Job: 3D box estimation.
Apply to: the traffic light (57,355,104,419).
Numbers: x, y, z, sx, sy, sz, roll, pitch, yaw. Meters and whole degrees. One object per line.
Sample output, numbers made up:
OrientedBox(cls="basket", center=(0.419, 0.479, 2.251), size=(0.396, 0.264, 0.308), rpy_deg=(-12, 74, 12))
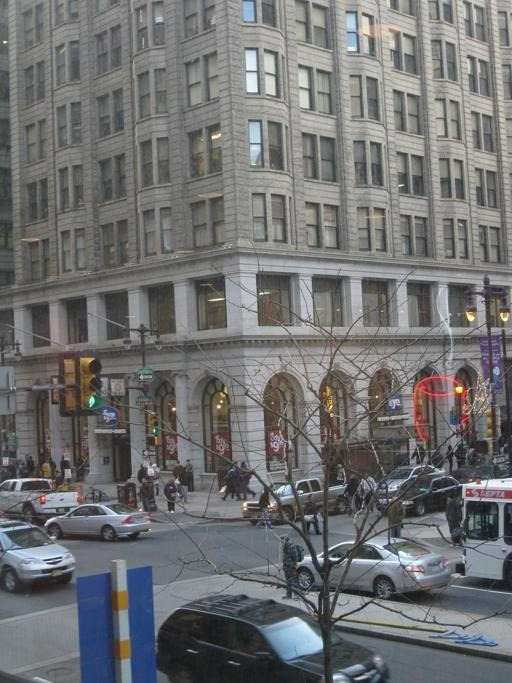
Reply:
OrientedBox(cls="traffic light", center=(-3.161, 0.743, 19.283), size=(0.718, 1.222, 2.008), rpy_deg=(-2, -8, -11))

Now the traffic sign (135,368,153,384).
OrientedBox(cls="traffic sign", center=(-4.314, 1.311, 41.849), size=(0.471, 0.769, 0.863), rpy_deg=(-5, -3, 35))

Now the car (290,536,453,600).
OrientedBox(cls="car", center=(2.532, 4.555, 21.440), size=(2.872, 1.256, 5.345), rpy_deg=(-3, -8, 0))

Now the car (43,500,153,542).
OrientedBox(cls="car", center=(-4.629, 5.187, 31.251), size=(2.833, 0.863, 1.180), rpy_deg=(1, -4, 21))
